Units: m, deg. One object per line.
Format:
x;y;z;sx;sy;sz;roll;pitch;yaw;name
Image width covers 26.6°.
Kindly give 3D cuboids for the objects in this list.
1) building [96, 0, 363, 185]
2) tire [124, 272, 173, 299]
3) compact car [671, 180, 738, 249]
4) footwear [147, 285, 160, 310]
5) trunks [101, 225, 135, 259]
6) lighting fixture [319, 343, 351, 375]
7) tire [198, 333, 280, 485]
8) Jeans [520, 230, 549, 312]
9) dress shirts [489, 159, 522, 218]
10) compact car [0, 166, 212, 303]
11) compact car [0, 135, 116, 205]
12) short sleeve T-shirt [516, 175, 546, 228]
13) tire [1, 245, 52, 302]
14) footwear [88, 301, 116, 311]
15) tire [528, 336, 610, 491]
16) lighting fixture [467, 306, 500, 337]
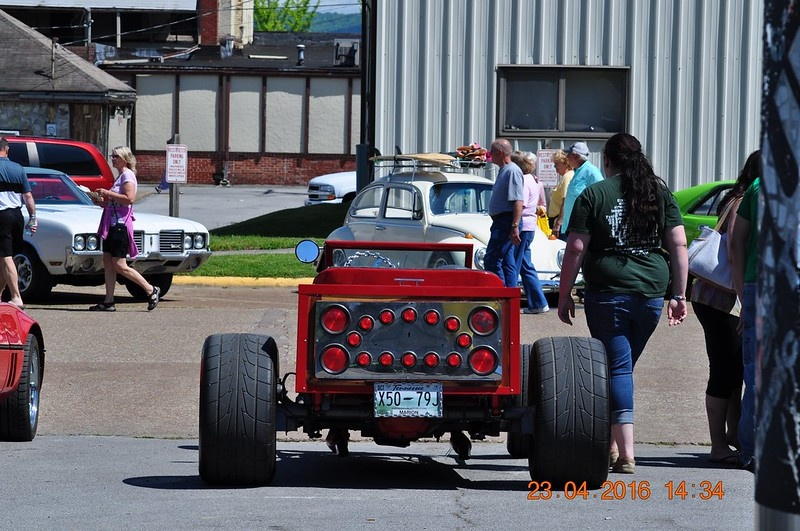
-5.067;-5.953;58.073;6.397;4.173;6.582;2;5;23;building
-3.793;0.287;25.597;0.401;0.393;0.582;2;-5;-29;tire
4.518;-0.732;25.423;1.408;0.731;0.926;-5;6;4;compact car
-3.568;0.481;24.524;0.135;0.392;0.147;12;4;40;footwear
-3.956;-0.299;24.185;0.617;0.632;0.397;1;-5;-8;trunks
-0.689;0.969;17.830;0.266;0.285;0.053;9;6;0;lighting fixture
-1.704;1.540;17.913;0.615;1.459;1.402;1;-6;-2;tire
1.835;0.053;24.400;0.280;1.249;0.342;-6;5;26;Jeans
1.485;-1.064;23.620;0.549;0.742;0.267;6;7;40;dress shirts
-4.481;-0.434;24.765;2.943;1.031;1.556;5;6;38;compact car
-6.022;-1.639;30.357;2.333;1.137;1.186;4;3;-11;compact car
1.863;-0.907;24.310;0.258;0.728;0.723;0;-4;14;short sleeve T-shirt
-5.320;0.083;24.179;0.753;0.809;0.273;1;-4;20;tire
-4.271;0.573;24.411;0.326;0.147;0.154;3;0;4;footwear
1.798;1.617;17.966;0.630;1.547;1.488;0;-2;3;tire
0.850;0.580;17.724;0.283;0.304;0.293;-2;2;4;lighting fixture
